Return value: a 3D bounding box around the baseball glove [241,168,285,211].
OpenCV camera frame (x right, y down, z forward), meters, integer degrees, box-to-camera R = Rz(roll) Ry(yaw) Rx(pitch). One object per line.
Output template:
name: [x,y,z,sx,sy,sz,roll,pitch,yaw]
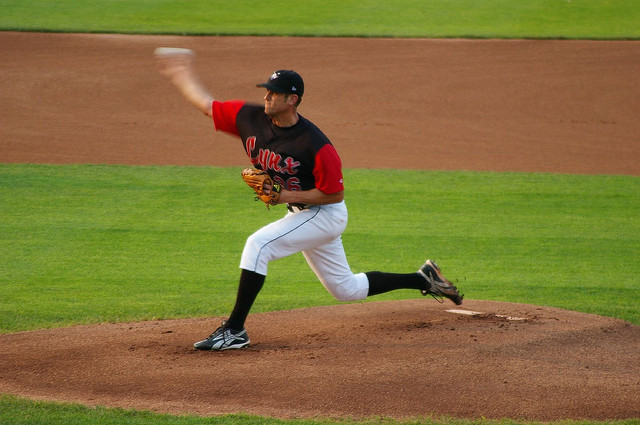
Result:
baseball glove: [-0.944,-0.448,21.251,0.802,0.485,0.382,41,12,-2]
